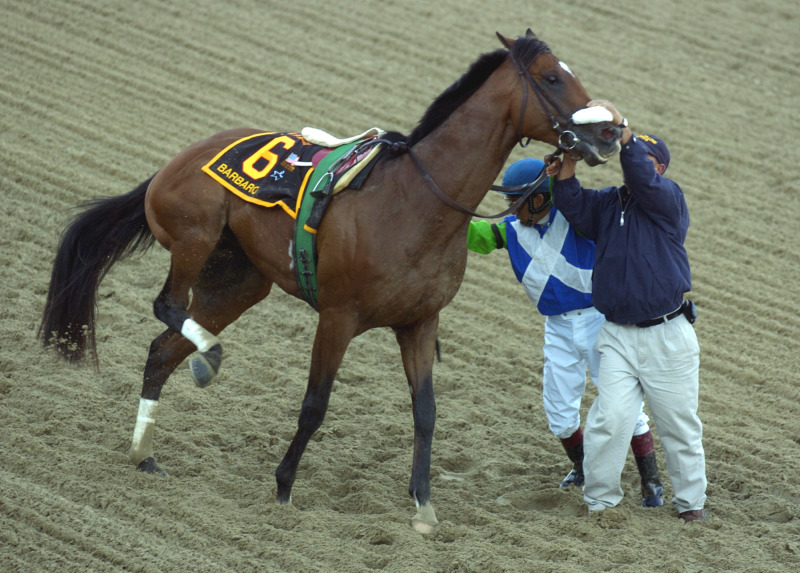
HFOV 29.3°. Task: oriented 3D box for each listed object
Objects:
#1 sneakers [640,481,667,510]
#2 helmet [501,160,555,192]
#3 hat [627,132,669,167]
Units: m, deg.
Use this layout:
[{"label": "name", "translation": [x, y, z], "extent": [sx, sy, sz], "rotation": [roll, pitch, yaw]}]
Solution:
[{"label": "sneakers", "translation": [1.879, 1.568, 11.350], "extent": [0.160, 0.171, 0.186], "rotation": [0, -21, -2]}, {"label": "helmet", "translation": [0.946, -0.801, 11.301], "extent": [0.337, 0.228, 0.230], "rotation": [-14, 11, 6]}, {"label": "hat", "translation": [1.841, -1.012, 11.068], "extent": [0.301, 0.156, 0.203], "rotation": [43, -1, -26]}]
